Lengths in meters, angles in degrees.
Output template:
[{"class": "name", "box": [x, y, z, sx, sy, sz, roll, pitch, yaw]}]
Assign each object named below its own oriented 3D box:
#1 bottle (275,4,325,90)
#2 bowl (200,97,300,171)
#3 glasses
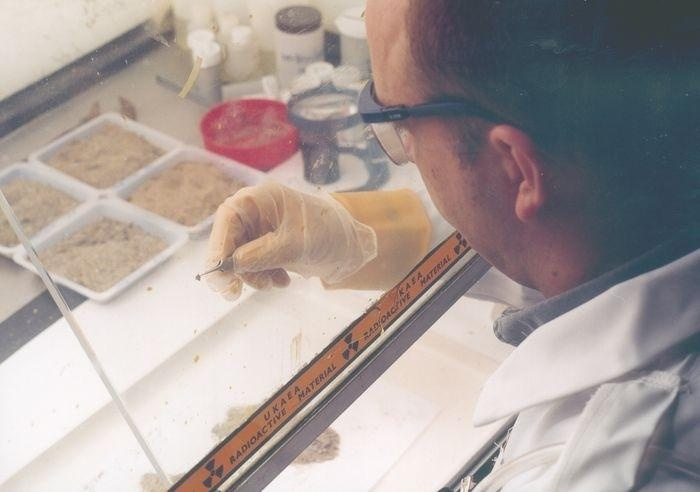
[{"class": "bottle", "box": [-0.097, -0.374, 1.557, 0.044, 0.123, 0.129, 33, 58, 29]}, {"class": "bowl", "box": [-0.190, -0.216, 1.611, 0.179, 0.172, 0.072, 2, 78, -33]}, {"class": "glasses", "box": [0.143, -0.265, 1.742, 0.198, 0.090, 0.173, -14, 29, 21]}]
